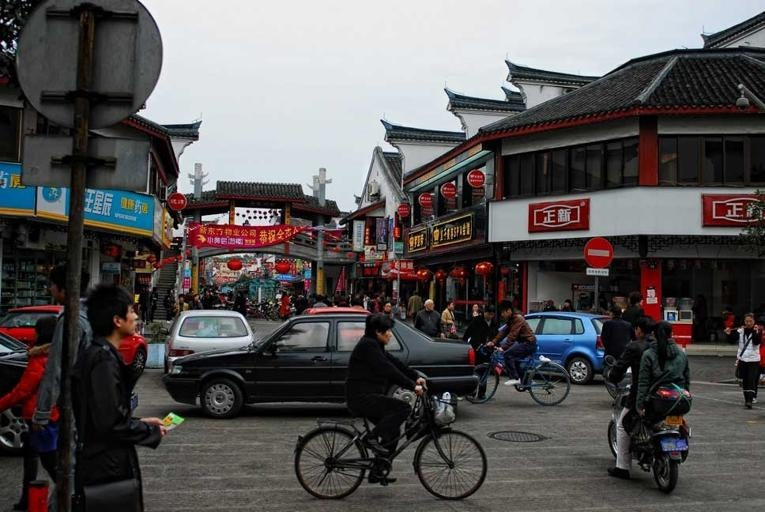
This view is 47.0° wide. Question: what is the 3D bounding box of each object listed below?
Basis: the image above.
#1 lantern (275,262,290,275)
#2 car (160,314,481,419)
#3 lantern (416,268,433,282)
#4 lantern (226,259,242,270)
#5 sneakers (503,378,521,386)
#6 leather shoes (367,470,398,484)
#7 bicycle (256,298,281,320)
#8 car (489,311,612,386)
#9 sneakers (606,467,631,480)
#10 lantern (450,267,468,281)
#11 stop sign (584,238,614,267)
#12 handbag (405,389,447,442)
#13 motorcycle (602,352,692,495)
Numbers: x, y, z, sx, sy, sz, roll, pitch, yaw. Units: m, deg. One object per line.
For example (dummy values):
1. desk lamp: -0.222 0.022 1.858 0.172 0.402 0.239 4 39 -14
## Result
1. lantern: -5.173 0.607 45.211 0.673 0.613 0.662 0 3 0
2. car: -1.245 2.146 17.239 5.630 1.817 2.327 3 -4 -3
3. lantern: 1.862 0.890 40.162 0.605 0.581 0.614 6 11 35
4. lantern: -7.759 0.452 46.612 0.718 0.692 0.700 0 -2 -38
5. sneakers: 2.691 2.655 18.466 0.342 0.143 0.123 1 -2 0
6. leather shoes: -0.009 3.046 12.205 0.331 0.229 0.099 6 13 2
7. bicycle: -6.693 3.241 51.339 1.841 1.069 0.945 -2 9 41
8. car: 4.395 2.166 22.456 2.462 1.182 1.375 3 0 29
9. sneakers: 3.529 3.246 13.218 0.288 0.111 0.163 14 12 42
10. lantern: 3.112 0.694 36.130 0.320 0.505 1.219 0 7 -12
11. stop sign: 5.700 -0.122 23.256 0.810 0.840 0.139 9 -13 -12
12. handbag: 0.665 2.254 12.310 0.864 0.534 0.421 -6 5 7
13. motorcycle: 3.956 2.460 13.105 0.744 1.830 1.423 -2 8 -27
